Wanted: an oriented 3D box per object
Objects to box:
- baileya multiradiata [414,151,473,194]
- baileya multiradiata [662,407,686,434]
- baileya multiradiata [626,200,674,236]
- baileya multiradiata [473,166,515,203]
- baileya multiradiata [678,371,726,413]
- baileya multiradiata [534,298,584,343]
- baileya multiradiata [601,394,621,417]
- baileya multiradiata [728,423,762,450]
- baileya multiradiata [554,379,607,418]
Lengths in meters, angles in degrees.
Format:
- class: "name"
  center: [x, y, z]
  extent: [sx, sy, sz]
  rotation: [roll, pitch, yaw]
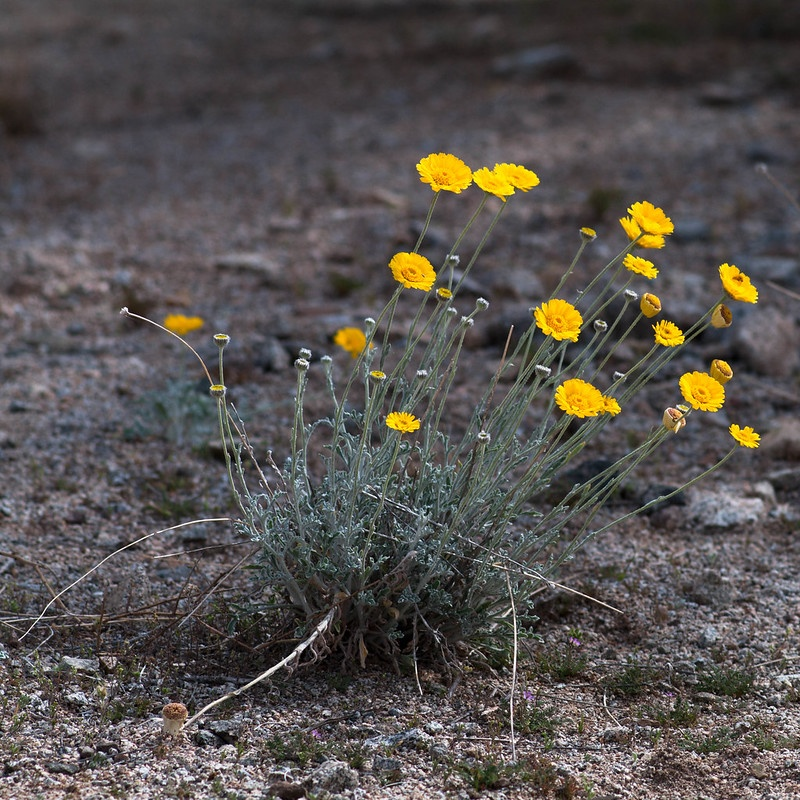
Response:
- class: "baileya multiradiata"
  center: [0.155, -0.802, 4.379]
  extent: [0.227, 0.072, 0.166]
  rotation: [6, 66, -12]
- class: "baileya multiradiata"
  center: [0.998, 0.071, 4.417]
  extent: [0.110, 0.047, 0.109]
  rotation: [11, 30, 0]
- class: "baileya multiradiata"
  center: [0.907, -0.651, 4.422]
  extent: [0.177, 0.073, 0.166]
  rotation: [34, 33, -10]
- class: "baileya multiradiata"
  center: [0.316, -0.745, 4.370]
  extent: [0.162, 0.051, 0.135]
  rotation: [28, 40, -6]
- class: "baileya multiradiata"
  center: [1.059, -0.026, 4.347]
  extent: [0.182, 0.061, 0.139]
  rotation: [1, 59, -20]
- class: "baileya multiradiata"
  center: [0.544, -0.263, 4.365]
  extent: [0.192, 0.061, 0.154]
  rotation: [-21, 70, -23]
- class: "baileya multiradiata"
  center: [0.753, 0.030, 4.355]
  extent: [0.088, 0.035, 0.080]
  rotation: [40, 32, -22]
- class: "baileya multiradiata"
  center: [1.453, 0.159, 5.157]
  extent: [0.122, 0.123, 0.046]
  rotation: [31, 95, 35]
- class: "baileya multiradiata"
  center: [0.622, 0.010, 4.290]
  extent: [0.155, 0.055, 0.150]
  rotation: [-38, 72, -22]
